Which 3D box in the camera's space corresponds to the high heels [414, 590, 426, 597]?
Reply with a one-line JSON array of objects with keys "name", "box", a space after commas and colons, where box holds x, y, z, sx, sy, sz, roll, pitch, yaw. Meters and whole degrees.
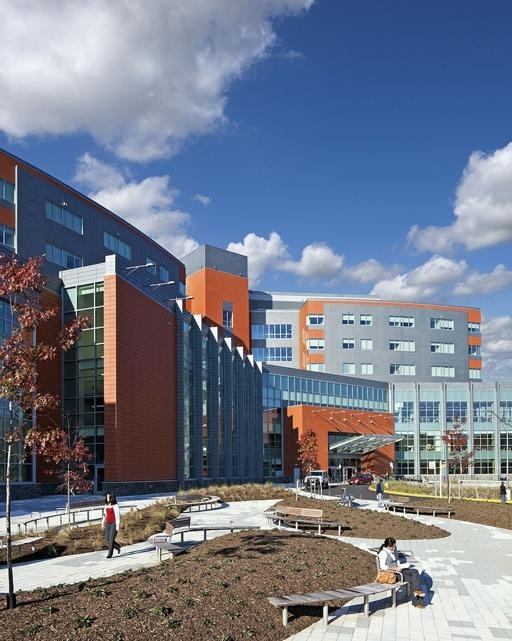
[{"name": "high heels", "box": [2.658, 4.511, 11.714, 0.106, 0.109, 0.270, 16, -22, -37]}]

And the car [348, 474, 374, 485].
[{"name": "car", "box": [8.151, 12.459, 55.533, 0.826, 0.621, 1.998, -24, -34, 37]}]

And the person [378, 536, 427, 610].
[{"name": "person", "box": [2.523, 4.283, 12.133, 0.834, 1.046, 0.518, -6, -4, 42]}]

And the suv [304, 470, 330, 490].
[{"name": "suv", "box": [3.706, 9.996, 44.326, 0.958, 0.765, 1.981, -4, -29, 8]}]

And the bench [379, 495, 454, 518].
[{"name": "bench", "box": [6.950, 7.967, 30.673, 2.883, 0.500, 6.407, -4, -10, 10]}]
